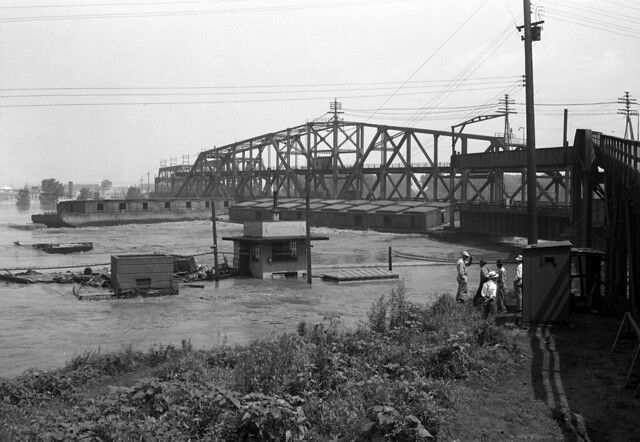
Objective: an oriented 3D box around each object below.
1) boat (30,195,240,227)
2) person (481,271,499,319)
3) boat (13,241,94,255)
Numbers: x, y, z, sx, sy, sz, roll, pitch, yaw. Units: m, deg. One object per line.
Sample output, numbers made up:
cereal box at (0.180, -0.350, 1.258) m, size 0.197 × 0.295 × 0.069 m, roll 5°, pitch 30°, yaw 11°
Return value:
boat at (-26.137, -1.726, 119.970) m, size 10.648 × 4.142 × 27.990 m, roll 3°, pitch 7°, yaw 43°
person at (6.687, 2.818, 33.189) m, size 0.617 × 1.589 × 1.777 m, roll 0°, pitch 5°, yaw 11°
boat at (-23.739, 2.200, 75.992) m, size 8.636 × 0.714 × 2.803 m, roll 3°, pitch 7°, yaw 40°
